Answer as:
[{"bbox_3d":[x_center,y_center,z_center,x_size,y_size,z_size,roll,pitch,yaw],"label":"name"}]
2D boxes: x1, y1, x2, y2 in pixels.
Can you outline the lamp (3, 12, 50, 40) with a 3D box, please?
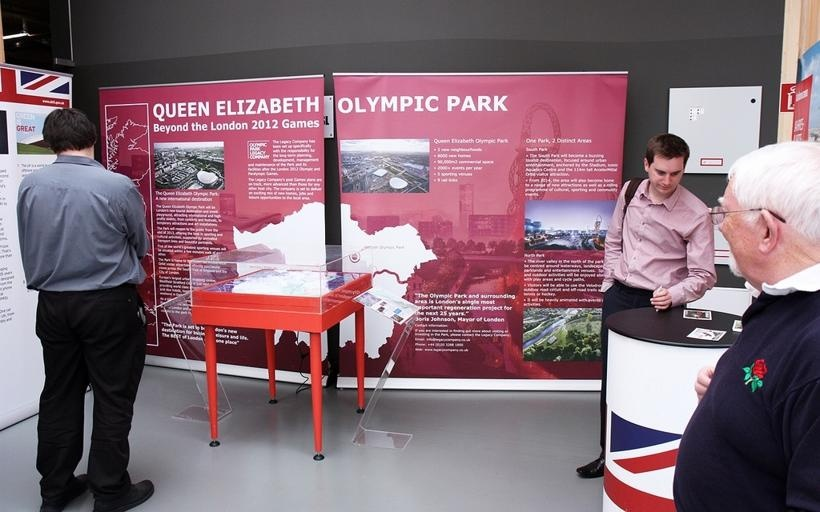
[{"bbox_3d":[-4.559,-2.734,6.368,0.430,0.163,0.827,-8,16,-35],"label":"lamp"}]
